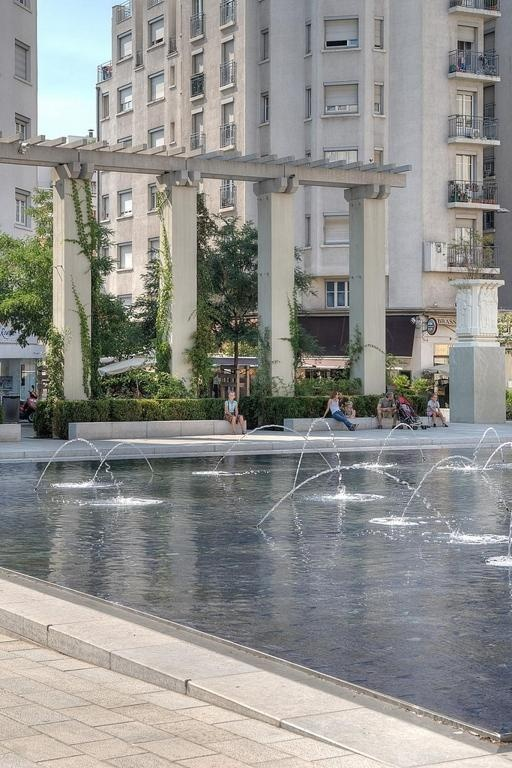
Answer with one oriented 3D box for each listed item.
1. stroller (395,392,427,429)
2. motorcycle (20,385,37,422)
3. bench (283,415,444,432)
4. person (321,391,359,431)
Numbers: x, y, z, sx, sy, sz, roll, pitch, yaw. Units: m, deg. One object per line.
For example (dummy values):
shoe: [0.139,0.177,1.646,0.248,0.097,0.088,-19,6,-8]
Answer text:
stroller: [3.541,0.702,34.742,0.773,1.051,0.547,-2,-3,36]
motorcycle: [-6.271,0.624,41.120,0.450,0.807,3.380,-1,2,-9]
bench: [1.626,0.889,32.912,2.591,0.335,0.210,-1,-7,-40]
person: [1.813,0.591,33.111,0.731,0.890,1.645,-1,2,22]
